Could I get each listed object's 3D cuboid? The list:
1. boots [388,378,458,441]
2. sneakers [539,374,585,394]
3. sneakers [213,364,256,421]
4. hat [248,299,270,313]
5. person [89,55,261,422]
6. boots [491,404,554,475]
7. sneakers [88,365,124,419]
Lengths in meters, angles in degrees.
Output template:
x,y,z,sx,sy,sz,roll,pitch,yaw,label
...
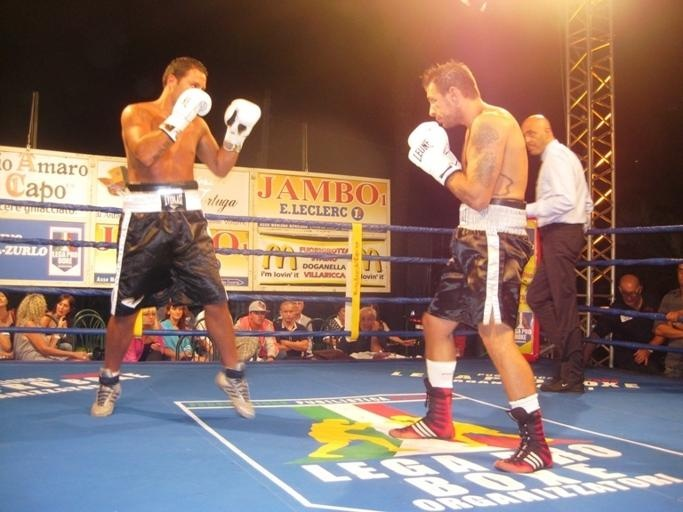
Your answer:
x,y,z,sx,sy,sz,roll,pitch,yaw,label
0.418,0.763,2.585,0.419,0.371,0.158,2,-10,4,boots
1.509,0.878,3.671,0.286,0.137,0.120,3,-4,19,sneakers
-0.544,0.723,2.874,0.145,0.345,0.125,-35,-4,20,sneakers
-0.922,0.559,5.973,0.246,0.202,0.369,4,-6,-18,hat
-0.868,-0.129,2.886,0.816,1.372,0.519,2,-1,-22,person
0.712,0.787,2.250,0.315,0.323,0.167,0,-12,0,boots
-1.234,0.709,2.787,0.111,0.198,0.129,2,-1,-5,sneakers
